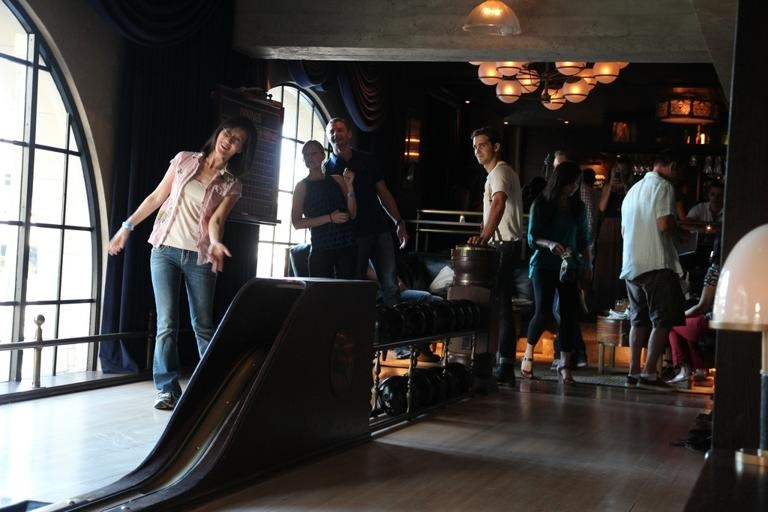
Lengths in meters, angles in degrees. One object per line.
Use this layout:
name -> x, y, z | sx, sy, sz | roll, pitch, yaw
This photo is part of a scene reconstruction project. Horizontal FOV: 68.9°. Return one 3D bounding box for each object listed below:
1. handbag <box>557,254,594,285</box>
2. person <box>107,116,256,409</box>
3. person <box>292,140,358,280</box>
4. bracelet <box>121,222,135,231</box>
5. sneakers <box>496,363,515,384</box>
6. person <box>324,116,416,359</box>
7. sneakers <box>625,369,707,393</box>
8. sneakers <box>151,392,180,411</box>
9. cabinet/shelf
handbag -> 1.750, 0.123, 5.157 | 0.284, 0.271, 0.114 | 0, -5, -36
person -> -1.426, 0.031, 4.105 | 0.863, 1.796, 0.495 | 2, 0, 11
person -> -0.537, -0.425, 5.017 | 0.583, 1.139, 0.378 | 2, 0, -5
bracelet -> -1.845, -0.216, 4.004 | 0.073, 0.051, 0.078 | -8, -20, 35
sneakers -> 1.076, 1.044, 4.972 | 0.189, 0.198, 0.178 | 2, 0, 4
person -> -0.168, -0.184, 5.340 | 0.824, 2.226, 0.701 | -19, 19, -10
sneakers -> 2.704, 1.201, 5.344 | 0.505, 0.211, 0.172 | 9, -10, 4
sneakers -> -1.562, 1.019, 3.947 | 0.168, 0.103, 0.151 | 2, 0, -12
cabinet/shelf -> 0.277, 0.720, 4.070 | 0.288, 0.852, 1.489 | 2, 0, 38
